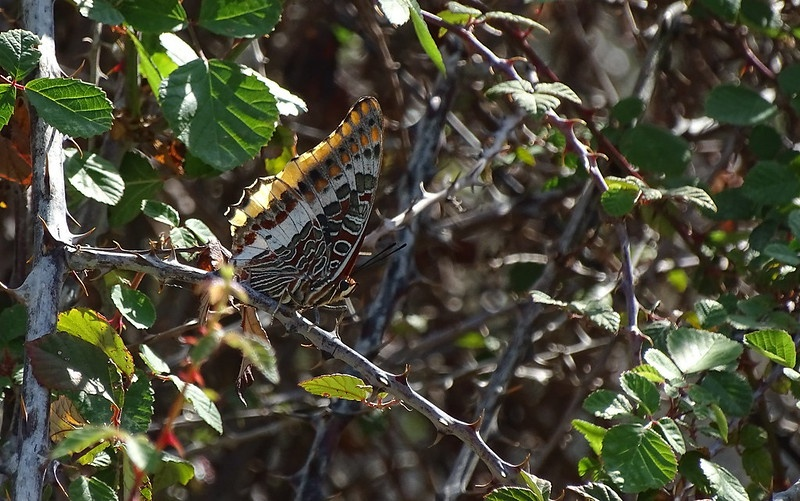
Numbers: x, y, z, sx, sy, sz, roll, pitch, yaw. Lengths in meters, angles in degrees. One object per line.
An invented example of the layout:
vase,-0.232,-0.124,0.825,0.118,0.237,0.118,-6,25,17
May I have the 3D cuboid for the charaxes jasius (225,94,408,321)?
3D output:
charaxes jasius,-0.317,-0.083,3.750,0.618,0.644,0.750,9,-30,-23
